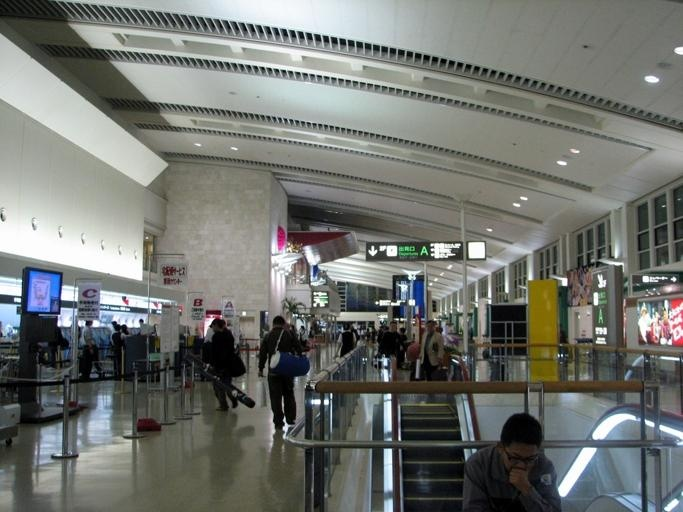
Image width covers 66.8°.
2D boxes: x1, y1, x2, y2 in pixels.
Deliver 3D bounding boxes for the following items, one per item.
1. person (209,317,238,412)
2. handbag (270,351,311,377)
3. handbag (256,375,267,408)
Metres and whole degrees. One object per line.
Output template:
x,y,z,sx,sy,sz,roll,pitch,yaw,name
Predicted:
-2.288,2.123,10.048,0.476,1.834,0.971,-4,-5,-14,person
-0.831,1.694,8.142,0.529,0.560,0.221,7,0,-5,handbag
-1.312,2.297,8.660,0.143,0.539,0.772,-4,-5,-7,handbag
